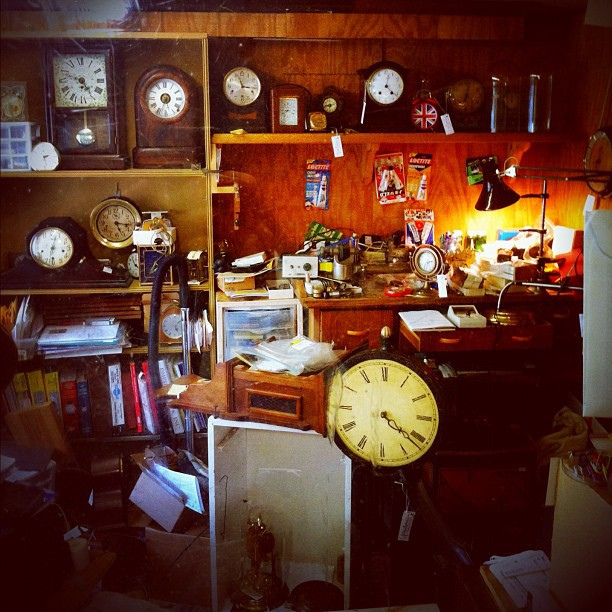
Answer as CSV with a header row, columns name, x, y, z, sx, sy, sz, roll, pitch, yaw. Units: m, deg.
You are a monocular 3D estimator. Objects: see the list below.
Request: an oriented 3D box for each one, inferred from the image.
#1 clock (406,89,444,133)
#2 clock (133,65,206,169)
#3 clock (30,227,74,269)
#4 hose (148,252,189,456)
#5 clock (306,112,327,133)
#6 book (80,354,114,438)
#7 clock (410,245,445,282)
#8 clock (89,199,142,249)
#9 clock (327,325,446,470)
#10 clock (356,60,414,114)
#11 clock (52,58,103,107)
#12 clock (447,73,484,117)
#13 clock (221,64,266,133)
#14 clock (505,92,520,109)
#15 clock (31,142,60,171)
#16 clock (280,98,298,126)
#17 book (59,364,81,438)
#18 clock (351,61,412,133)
name,x,y,z,sx,sy,sz,roll,pitch,yaw
clock,0.616,-0.964,2.869,0.238,0.212,0.125,-14,14,-43
clock,-0.678,-0.881,2.800,0.325,0.533,0.165,-3,-11,-12
clock,-1.133,-0.255,2.572,0.152,0.186,0.039,0,2,-28
hose,-0.504,0.180,2.135,0.139,0.745,0.027,0,-2,-22
clock,0.050,-0.908,2.873,0.108,0.105,0.093,-2,10,7
book,-0.991,0.436,2.712,0.119,0.415,0.323,-4,4,-20
clock,0.574,-0.202,2.710,0.145,0.176,0.050,4,9,41
clock,-0.941,-0.407,2.835,0.201,0.254,0.068,0,8,-6
clock,0.231,0.314,1.703,0.346,0.361,0.039,-1,9,12
clock,0.398,-1.032,2.889,0.286,0.359,0.176,0,-19,0
clock,-0.976,-0.948,2.433,0.020,0.223,0.192,13,18,40
clock,0.812,-1.038,2.929,0.208,0.262,0.089,2,-20,6
clock,-0.311,-1.000,2.803,0.208,0.320,0.049,-3,9,2
clock,1.025,-1.015,2.858,0.067,0.084,0.018,2,5,-8
clock,-1.136,-0.649,2.495,0.018,0.125,0.108,14,17,41
clock,-0.088,-0.952,2.825,0.103,0.180,0.016,-1,2,-5
book,-1.077,0.430,2.619,0.093,0.331,0.272,-2,5,-16
clock,0.380,-1.045,2.892,0.272,0.368,0.191,-2,6,-7
